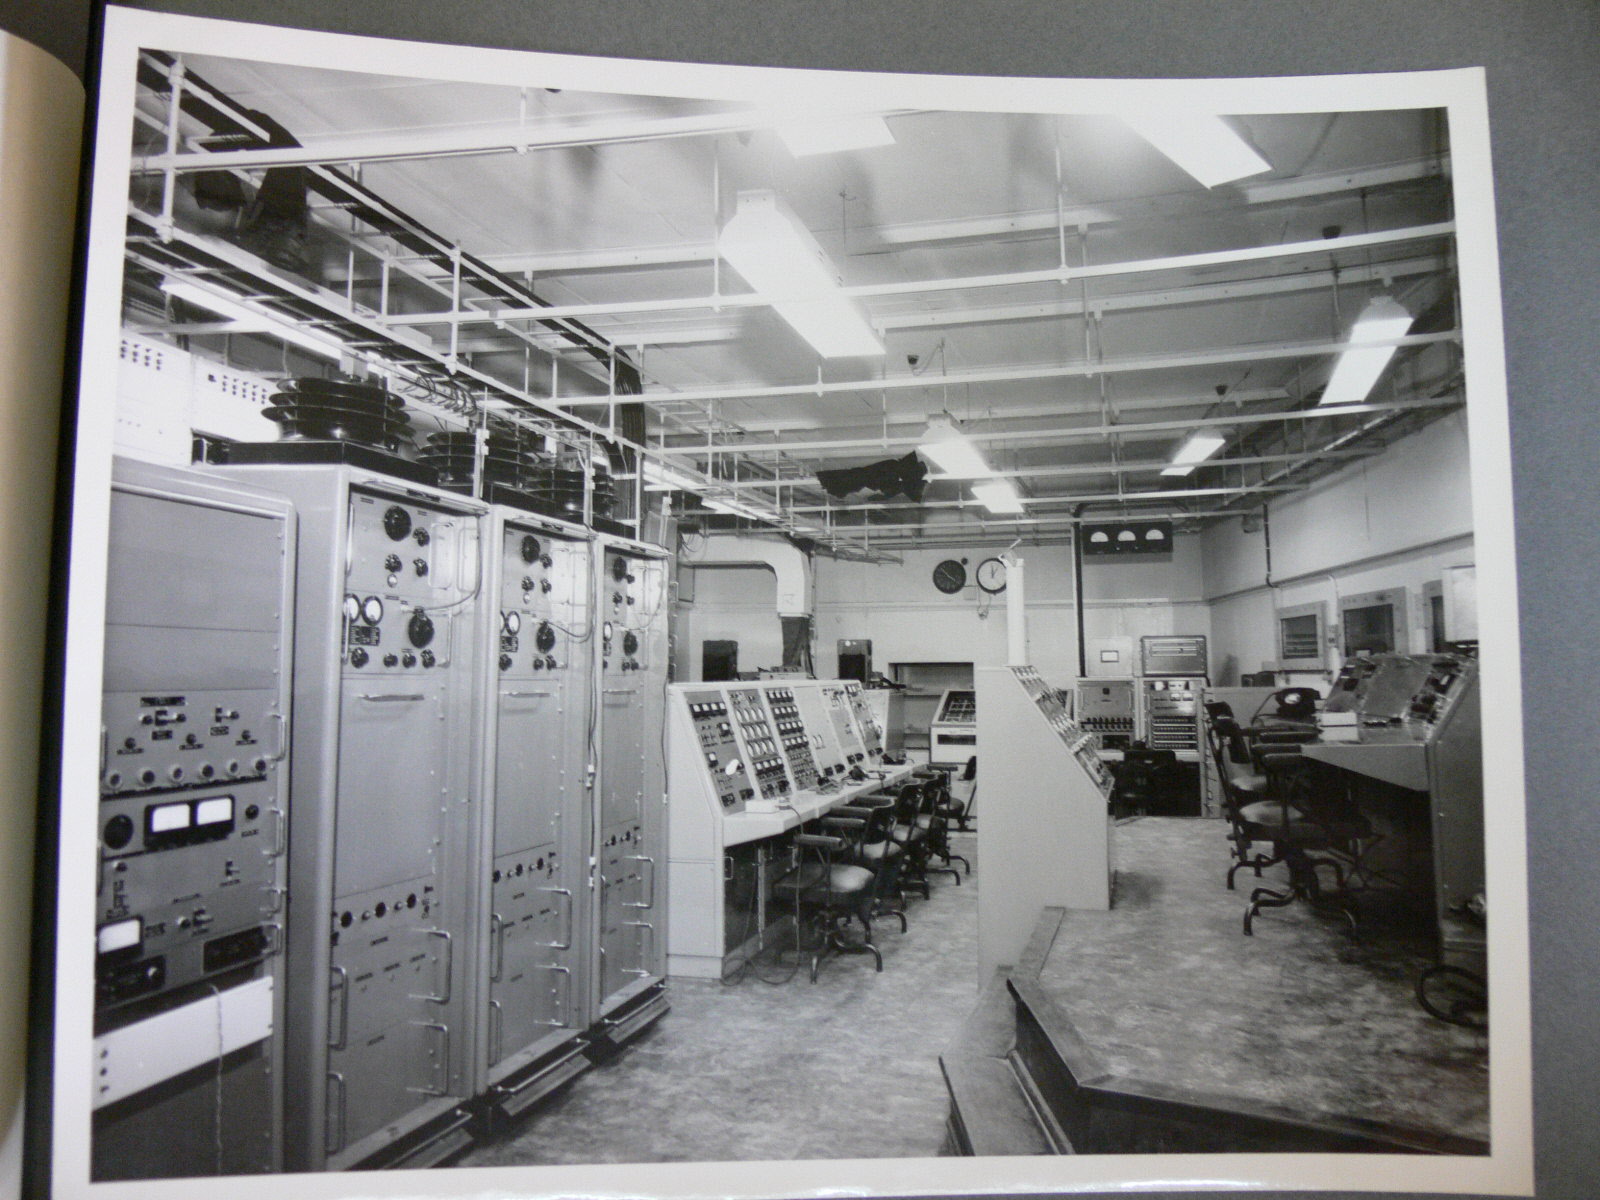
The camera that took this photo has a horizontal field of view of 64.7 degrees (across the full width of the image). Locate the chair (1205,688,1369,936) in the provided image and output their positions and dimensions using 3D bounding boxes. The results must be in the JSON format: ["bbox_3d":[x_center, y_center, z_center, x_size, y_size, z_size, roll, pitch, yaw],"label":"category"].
[{"bbox_3d":[2.895,1.176,7.181,1.021,1.562,1.183,-3,-8,15],"label":"chair"}]

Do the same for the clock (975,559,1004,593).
[{"bbox_3d":[2.510,-0.334,16.638,0.451,0.483,0.263,-5,-5,30],"label":"clock"}]
